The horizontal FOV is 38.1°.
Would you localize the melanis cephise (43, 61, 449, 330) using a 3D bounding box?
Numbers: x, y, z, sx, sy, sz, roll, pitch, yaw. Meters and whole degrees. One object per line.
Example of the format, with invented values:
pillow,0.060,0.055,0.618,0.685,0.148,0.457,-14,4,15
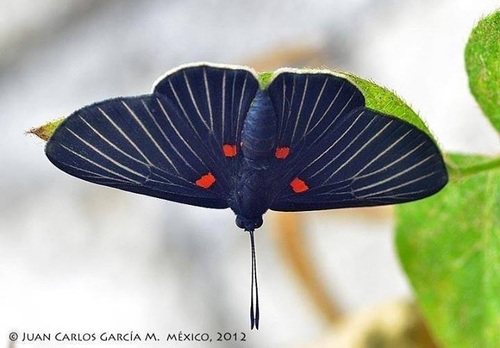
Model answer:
melanis cephise,-0.009,-0.041,1.143,0.610,0.304,0.128,-11,-4,6
